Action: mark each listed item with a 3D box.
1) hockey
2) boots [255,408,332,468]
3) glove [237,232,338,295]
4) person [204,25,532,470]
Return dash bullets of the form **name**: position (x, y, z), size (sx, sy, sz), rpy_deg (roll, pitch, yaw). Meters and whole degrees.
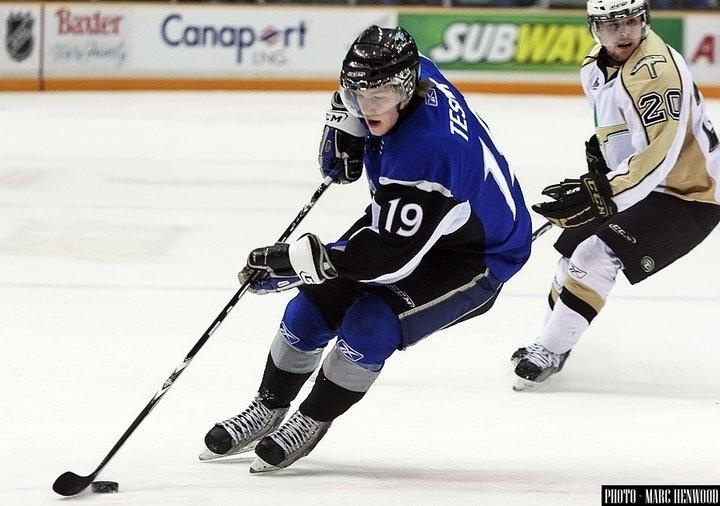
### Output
- **hockey**: position (-0.810, 0.375, 4.297), size (2.049, 0.408, 0.052), rpy_deg (-45, 55, -12)
- **boots**: position (-0.270, 0.750, 3.566), size (0.302, 0.095, 0.124), rpy_deg (-29, -11, -29)
- **glove**: position (-0.283, 0.045, 3.557), size (0.438, 0.180, 0.178), rpy_deg (-13, 49, 27)
- **person**: position (0.080, 0.011, 3.523), size (1.252, 1.756, 0.423), rpy_deg (1, 18, -10)
